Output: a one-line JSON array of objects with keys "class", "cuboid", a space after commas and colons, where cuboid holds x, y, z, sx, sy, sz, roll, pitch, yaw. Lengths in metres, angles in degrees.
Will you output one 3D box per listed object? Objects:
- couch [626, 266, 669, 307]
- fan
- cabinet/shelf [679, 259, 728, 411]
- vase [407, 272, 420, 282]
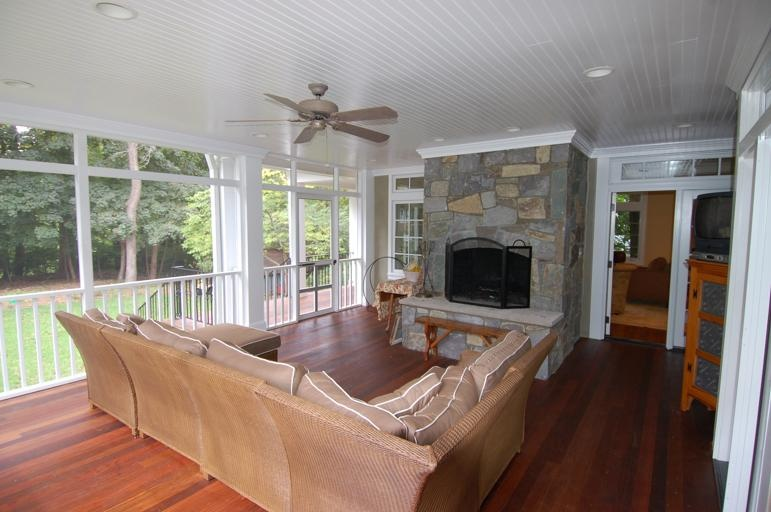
[{"class": "couch", "cuboid": [4.680, 0.524, 8.661, 0.736, 0.615, 0.705, 5, 9, 36]}, {"class": "fan", "cuboid": [-0.556, -1.348, 4.472, 1.266, 0.480, 1.397, -1, 3, -1]}, {"class": "cabinet/shelf", "cuboid": [3.070, 0.787, 4.677, 0.187, 1.555, 0.458, -1, 5, 0]}, {"class": "vase", "cuboid": [0.423, 0.315, 7.230, 0.205, 0.127, 0.161, -1, -7, 24]}]
